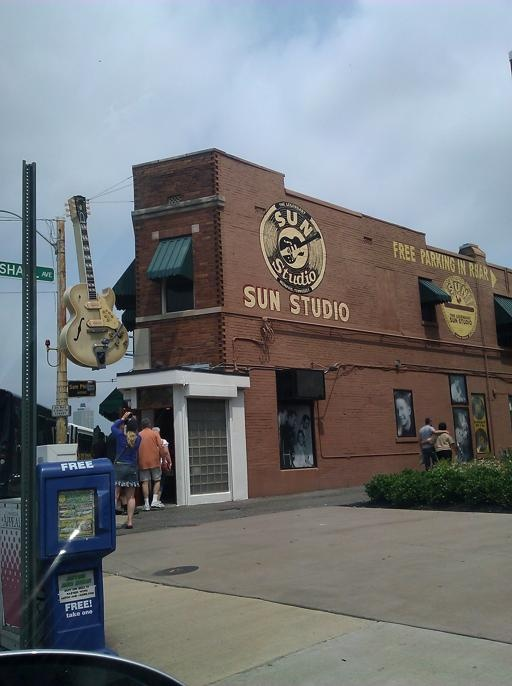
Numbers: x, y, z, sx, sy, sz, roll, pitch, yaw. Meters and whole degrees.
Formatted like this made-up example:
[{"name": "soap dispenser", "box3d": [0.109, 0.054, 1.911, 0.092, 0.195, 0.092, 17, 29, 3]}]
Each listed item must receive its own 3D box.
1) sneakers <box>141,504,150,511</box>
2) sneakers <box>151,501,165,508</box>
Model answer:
[{"name": "sneakers", "box3d": [-2.374, 3.542, 13.403, 0.112, 0.138, 0.328, 1, -16, -12]}, {"name": "sneakers", "box3d": [-2.182, 3.569, 13.748, 0.155, 0.172, 0.262, 9, -22, -40]}]
